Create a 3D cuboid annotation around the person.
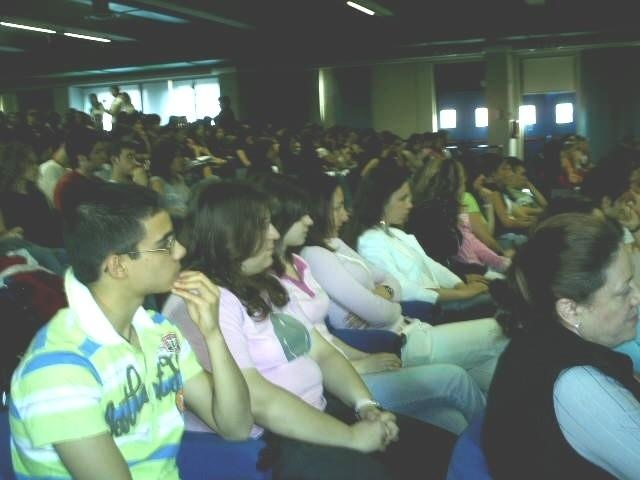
[{"bbox_3d":[0.040,0.365,2.154,1.928,1.189,0.958,-1,11,7],"label":"person"}]
